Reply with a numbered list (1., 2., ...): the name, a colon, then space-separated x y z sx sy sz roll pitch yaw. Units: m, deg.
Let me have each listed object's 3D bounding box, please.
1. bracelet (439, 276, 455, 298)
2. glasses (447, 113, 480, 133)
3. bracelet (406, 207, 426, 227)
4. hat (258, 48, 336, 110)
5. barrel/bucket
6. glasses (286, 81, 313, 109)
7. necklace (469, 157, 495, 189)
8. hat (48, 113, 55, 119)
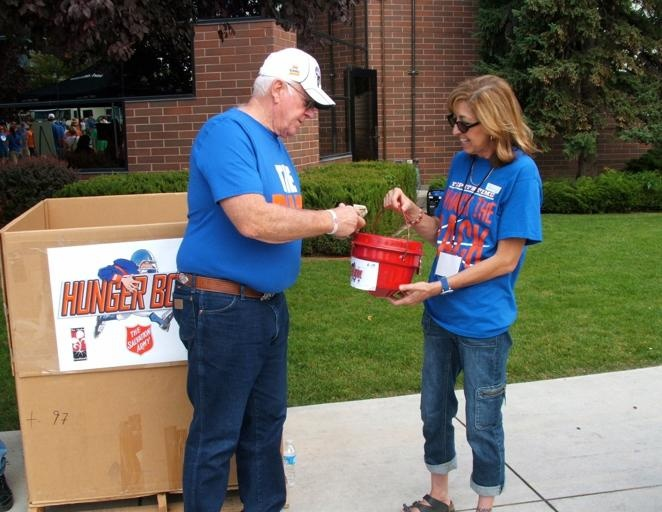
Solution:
1. bracelet: 0.641 0.160 3.688 0.060 0.099 0.093 -3 -5 11
2. glasses: 0.713 -0.717 3.640 0.130 0.043 0.127 5 25 -33
3. bracelet: 0.499 -0.227 4.051 0.086 0.033 0.103 -42 0 -5
4. hat: -0.168 -0.940 3.586 0.395 0.213 0.260 20 10 -12
5. barrel/bucket: 0.302 -0.019 3.965 0.350 0.413 0.399 17 1 -11
6. glasses: -0.158 -0.835 3.516 0.032 0.118 0.111 -25 11 -28
7. necklace: 0.825 -0.449 3.715 0.109 0.176 0.029 29 13 31
8. hat: -6.144 -3.083 14.856 0.107 0.152 0.143 -1 -3 -17
